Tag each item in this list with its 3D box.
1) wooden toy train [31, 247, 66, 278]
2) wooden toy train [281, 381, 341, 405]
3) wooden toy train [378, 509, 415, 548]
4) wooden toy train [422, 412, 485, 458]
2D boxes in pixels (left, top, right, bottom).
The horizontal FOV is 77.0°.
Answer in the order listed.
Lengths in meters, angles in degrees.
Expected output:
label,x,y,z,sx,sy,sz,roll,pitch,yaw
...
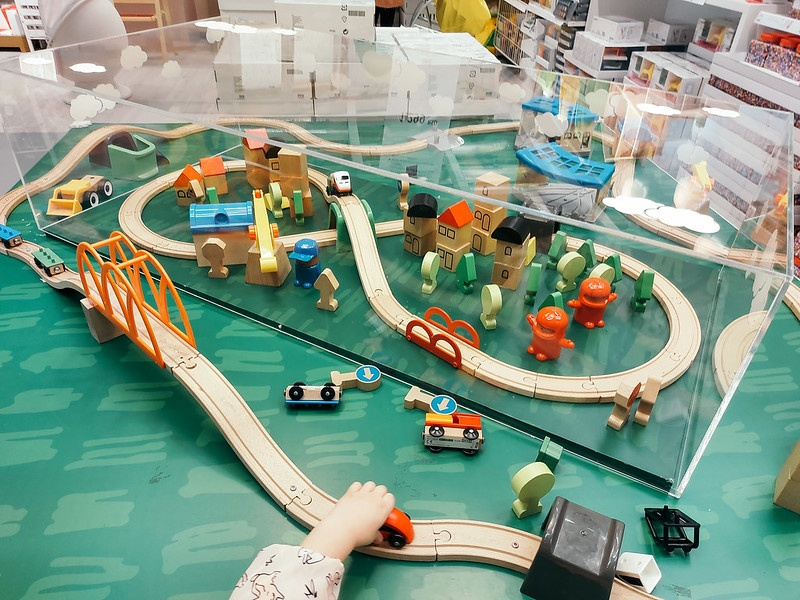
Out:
label,x,y,z,sx,sy,sz,roll,pitch,yaw
wooden toy train,-1.936,-0.200,2.776,0.113,0.104,0.211,-31,62,-33
wooden toy train,-0.379,0.409,2.151,0.170,0.074,0.112,1,18,3
wooden toy train,-0.013,0.788,1.764,0.138,0.088,0.092,22,49,11
wooden toy train,0.208,0.531,2.019,0.211,0.140,0.154,3,36,6
